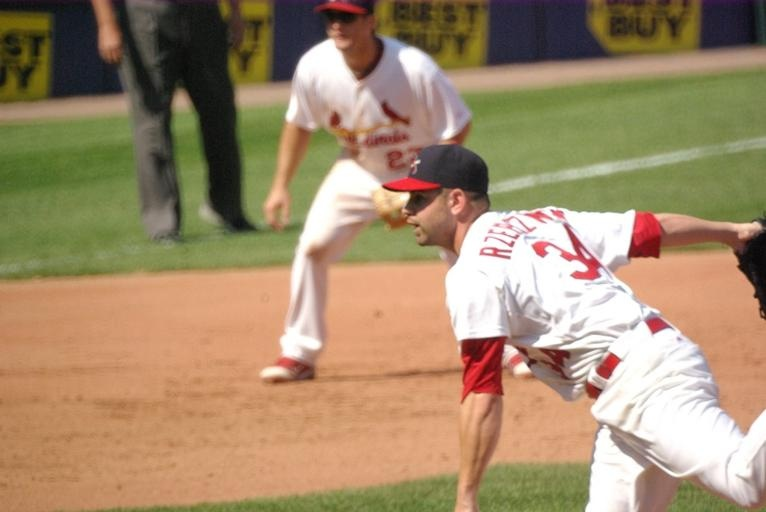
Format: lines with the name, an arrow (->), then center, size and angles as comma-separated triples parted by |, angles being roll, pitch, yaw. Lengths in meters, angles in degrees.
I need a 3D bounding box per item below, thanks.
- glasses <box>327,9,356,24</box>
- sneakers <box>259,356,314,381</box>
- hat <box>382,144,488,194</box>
glasses -> -0.418, -2.161, 13.809 | 0.328, 0.113, 0.105 | 8, 16, 29
sneakers -> -0.909, 1.046, 14.290 | 0.453, 0.168, 0.236 | 1, -2, -10
hat -> 0.468, -0.708, 12.428 | 0.712, 0.320, 0.432 | 4, 6, 3
